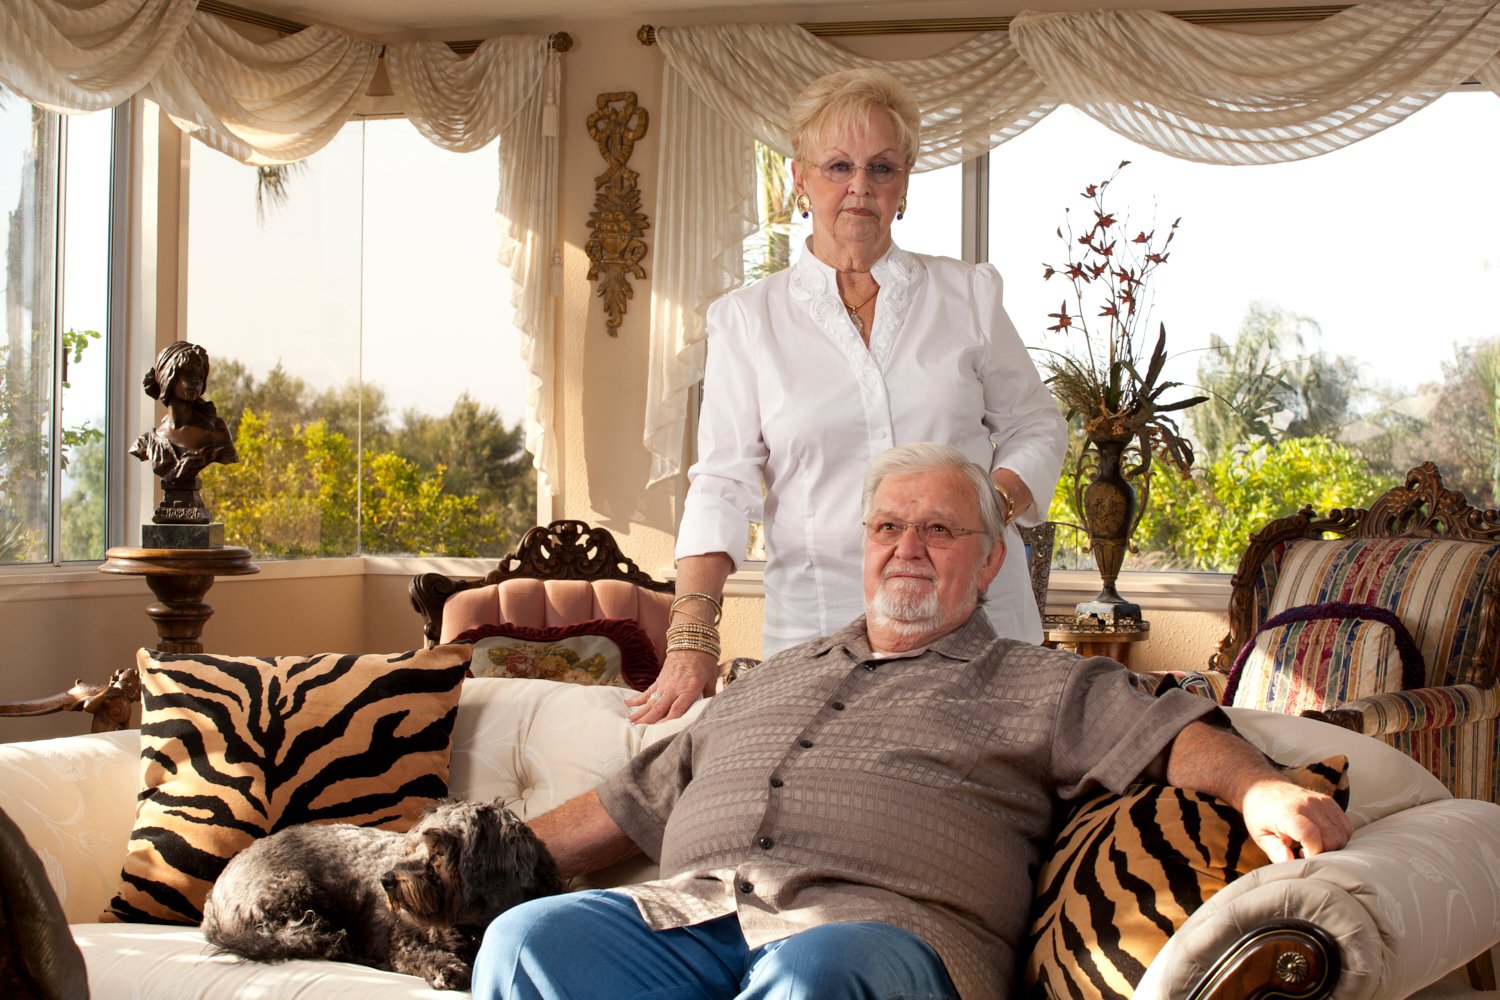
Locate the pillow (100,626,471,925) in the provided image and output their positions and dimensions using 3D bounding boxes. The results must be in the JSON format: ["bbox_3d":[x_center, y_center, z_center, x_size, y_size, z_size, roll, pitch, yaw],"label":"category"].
[{"bbox_3d":[-1.067,0.654,2.769,0.512,0.509,0.208,0,-20,-2],"label":"pillow"}]

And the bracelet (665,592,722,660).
[{"bbox_3d":[-0.101,0.274,2.570,0.119,0.120,0.112,0,-3,35],"label":"bracelet"}]

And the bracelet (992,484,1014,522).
[{"bbox_3d":[0.533,0.010,2.509,0.024,0.069,0.058,-14,-10,12],"label":"bracelet"}]

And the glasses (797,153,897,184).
[{"bbox_3d":[0.212,-0.691,2.529,0.205,0.048,0.050,2,2,8],"label":"glasses"}]

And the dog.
[{"bbox_3d":[-0.751,0.762,2.514,0.630,0.318,0.371,2,-8,21],"label":"dog"}]

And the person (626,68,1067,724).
[{"bbox_3d":[0.236,0.144,2.741,0.930,2.107,0.657,-6,9,-8],"label":"person"}]

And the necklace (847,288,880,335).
[{"bbox_3d":[0.245,-0.415,2.678,0.088,0.097,0.033,-3,-7,5],"label":"necklace"}]

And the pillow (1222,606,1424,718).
[{"bbox_3d":[1.880,0.541,3.949,0.582,0.253,0.680,-12,6,30],"label":"pillow"}]
